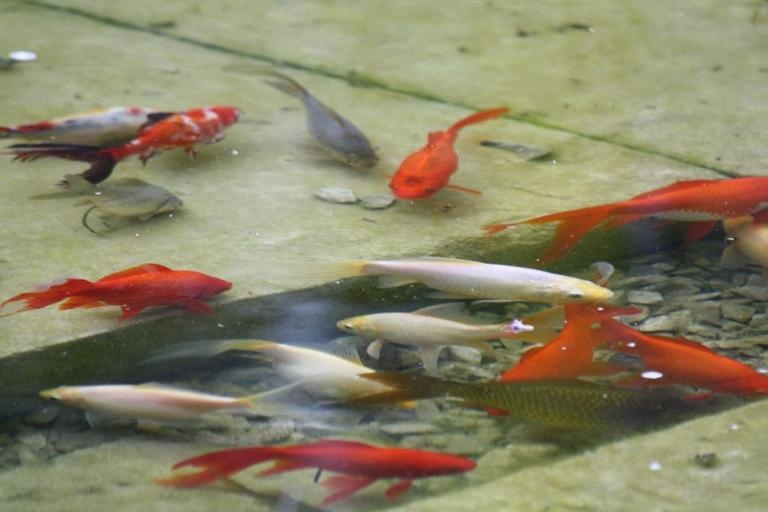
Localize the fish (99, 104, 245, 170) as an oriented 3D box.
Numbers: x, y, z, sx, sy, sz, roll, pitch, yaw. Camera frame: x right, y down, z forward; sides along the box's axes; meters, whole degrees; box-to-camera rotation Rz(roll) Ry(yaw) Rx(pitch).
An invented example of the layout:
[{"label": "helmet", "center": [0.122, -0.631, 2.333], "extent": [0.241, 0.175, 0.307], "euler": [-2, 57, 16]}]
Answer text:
[{"label": "fish", "center": [-0.663, -0.397, 2.971], "extent": [0.480, 0.146, 0.143], "euler": [-26, 52, -35]}]

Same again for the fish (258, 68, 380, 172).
[{"label": "fish", "center": [-0.232, -0.456, 3.148], "extent": [0.613, 0.250, 0.146], "euler": [29, 78, 11]}]

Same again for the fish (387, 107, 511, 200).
[{"label": "fish", "center": [0.169, -0.322, 2.962], "extent": [0.319, 0.131, 0.382], "euler": [13, 45, 35]}]
